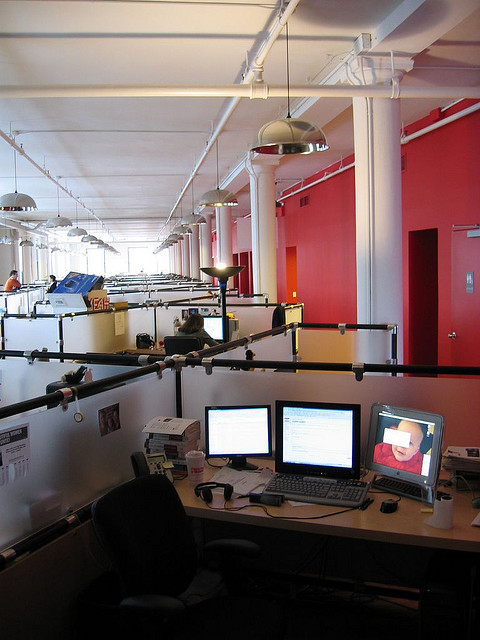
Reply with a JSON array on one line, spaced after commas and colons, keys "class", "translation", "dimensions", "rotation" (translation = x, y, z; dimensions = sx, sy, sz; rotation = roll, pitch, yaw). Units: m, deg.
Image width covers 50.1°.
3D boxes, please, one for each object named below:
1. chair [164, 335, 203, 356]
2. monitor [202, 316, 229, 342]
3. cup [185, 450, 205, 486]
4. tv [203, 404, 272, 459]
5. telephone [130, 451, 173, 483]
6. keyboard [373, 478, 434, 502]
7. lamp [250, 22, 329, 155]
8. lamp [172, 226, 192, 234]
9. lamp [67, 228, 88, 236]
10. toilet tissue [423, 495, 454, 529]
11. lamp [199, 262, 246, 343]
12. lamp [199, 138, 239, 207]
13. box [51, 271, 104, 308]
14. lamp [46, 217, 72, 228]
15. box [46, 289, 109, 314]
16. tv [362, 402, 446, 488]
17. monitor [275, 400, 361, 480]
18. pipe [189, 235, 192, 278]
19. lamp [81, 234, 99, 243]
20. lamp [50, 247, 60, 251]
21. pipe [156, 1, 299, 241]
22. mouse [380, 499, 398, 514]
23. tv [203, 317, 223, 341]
[{"class": "chair", "translation": [-0.484, 0.183, 4.478], "dimensions": [0.213, 0.301, 0.232], "rotation": [3, 5, 25]}, {"class": "monitor", "translation": [-0.230, 0.088, 4.993], "dimensions": [0.243, 0.224, 0.084], "rotation": [4, 10, 24]}, {"class": "cup", "translation": [-0.182, 0.617, 2.127], "dimensions": [0.112, 0.142, 0.109], "rotation": [0, -4, 0]}, {"class": "tv", "translation": [-0.008, 0.495, 2.287], "dimensions": [0.241, 0.183, 0.025], "rotation": [-1, 0, 2]}, {"class": "telephone", "translation": [-0.366, 0.575, 2.041], "dimensions": [0.060, 0.158, 0.165], "rotation": [-35, -27, 22]}, {"class": "keyboard", "translation": [0.658, 0.652, 2.032], "dimensions": [0.259, 0.055, 0.097], "rotation": [0, 5, 43]}, {"class": "lamp", "translation": [0.319, -1.512, 3.349], "dimensions": [0.438, 0.790, 0.456], "rotation": [0, 5, -24]}, {"class": "lamp", "translation": [-1.432, -2.314, 13.110], "dimensions": [0.451, 0.149, 0.429], "rotation": [3, 8, 28]}, {"class": "lamp", "translation": [-3.403, -1.845, 10.854], "dimensions": [0.260, 0.135, 0.259], "rotation": [-1, 1, 12]}, {"class": "toilet tissue", "translation": [0.679, 0.640, 1.745], "dimensions": [0.119, 0.114, 0.070], "rotation": [3, 1, 42]}, {"class": "lamp", "translation": [-0.125, -0.154, 4.601], "dimensions": [0.373, 0.766, 1.322], "rotation": [-4, 4, -2]}, {"class": "lamp", "translation": [-0.297, -1.970, 6.749], "dimensions": [0.518, 0.869, 0.499], "rotation": [-6, 11, -25]}, {"class": "box", "translation": [-1.797, -0.217, 5.711], "dimensions": [0.609, 0.582, 0.371], "rotation": [-2, 1, 36]}, {"class": "lamp", "translation": [-3.149, -1.680, 8.893], "dimensions": [0.303, 0.156, 0.300], "rotation": [-4, 5, -23]}, {"class": "box", "translation": [-1.715, -0.201, 5.602], "dimensions": [0.420, 0.254, 0.400], "rotation": [-3, 0, -38]}, {"class": "tv", "translation": [0.668, 0.508, 2.064], "dimensions": [0.042, 0.291, 0.308], "rotation": [15, -5, -42]}, {"class": "monitor", "translation": [0.343, 0.495, 2.253], "dimensions": [0.362, 0.306, 0.186], "rotation": [1, 2, 14]}, {"class": "pipe", "translation": [-1.921, -2.442, 20.217], "dimensions": [0.086, 1.429, 0.350], "rotation": [-4, 3, -6]}, {"class": "lamp", "translation": [-3.928, -2.111, 13.439], "dimensions": [0.330, 0.178, 0.328], "rotation": [0, 0, 7]}, {"class": "lamp", "translation": [-8.267, -3.179, 22.969], "dimensions": [0.320, 0.122, 0.317], "rotation": [2, 0, -34]}, {"class": "pipe", "translation": [-0.126, -2.419, 6.656], "dimensions": [0.215, 3.057, 0.244], "rotation": [21, 41, -8]}, {"class": "mouse", "translation": [0.545, 0.679, 1.883], "dimensions": [0.055, 0.030, 0.099], "rotation": [-2, 4, 24]}, {"class": "tv", "translation": [-0.261, 0.086, 5.117], "dimensions": [0.241, 0.274, 0.029], "rotation": [1, 2, 21]}]
